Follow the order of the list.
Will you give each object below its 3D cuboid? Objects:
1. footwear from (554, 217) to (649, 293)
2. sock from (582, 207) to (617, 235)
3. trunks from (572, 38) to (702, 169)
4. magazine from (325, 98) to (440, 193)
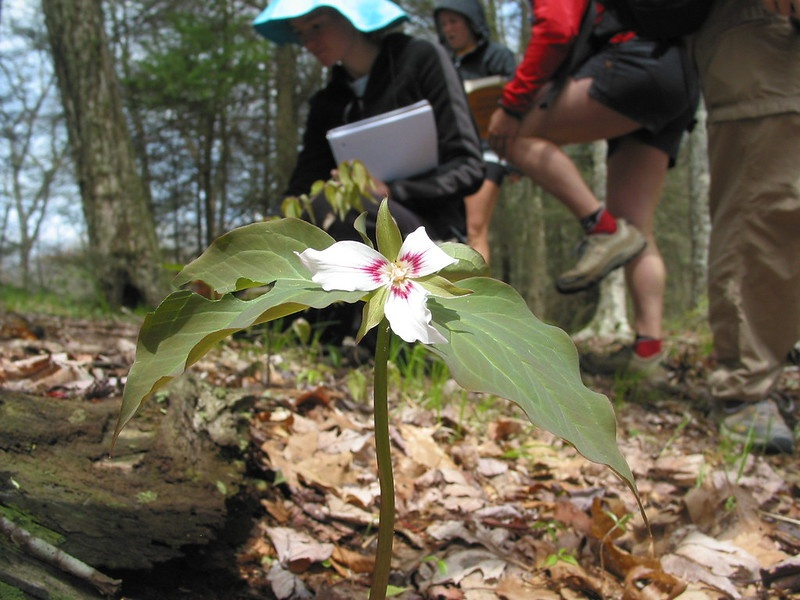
[{"bbox_3d":[0.859,-0.195,3.787,0.449,0.207,0.156,-34,-1,0],"label":"footwear"},{"bbox_3d":[0.865,-0.349,3.757,0.131,0.134,0.080,11,23,34],"label":"sock"},{"bbox_3d":[1.024,-0.735,3.688,0.442,0.657,0.473,4,-11,31],"label":"trunks"},{"bbox_3d":[-0.056,-0.693,3.869,0.442,0.114,0.476,-15,-23,8],"label":"magazine"}]
